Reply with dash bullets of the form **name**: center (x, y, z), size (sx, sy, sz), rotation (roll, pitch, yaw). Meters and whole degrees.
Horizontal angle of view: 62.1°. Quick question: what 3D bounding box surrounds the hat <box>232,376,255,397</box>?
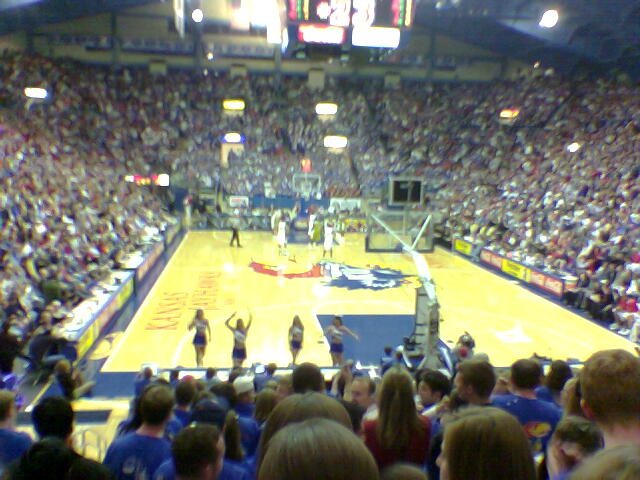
- **hat**: center (-0.965, 1.841, 6.612), size (0.232, 0.144, 0.349), rotation (-2, 12, -10)
